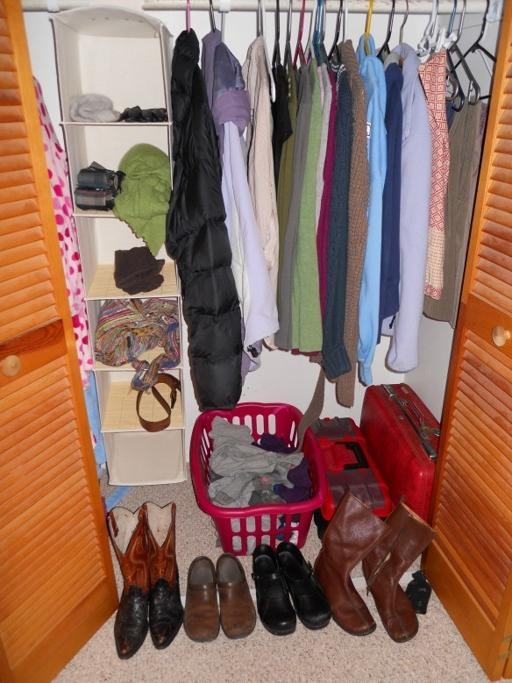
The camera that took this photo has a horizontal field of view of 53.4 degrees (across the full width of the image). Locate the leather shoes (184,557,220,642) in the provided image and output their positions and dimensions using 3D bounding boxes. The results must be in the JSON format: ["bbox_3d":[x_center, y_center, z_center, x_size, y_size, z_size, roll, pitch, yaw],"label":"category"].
[{"bbox_3d":[-0.174,0.788,1.575,0.069,0.081,0.213,0,32,-4],"label":"leather shoes"}]

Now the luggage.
[{"bbox_3d":[0.499,0.398,1.754,0.120,0.283,0.384,-2,32,-9],"label":"luggage"}]

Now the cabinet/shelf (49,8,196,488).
[{"bbox_3d":[-0.429,-0.194,1.825,0.365,1.668,0.412,-1,24,-8],"label":"cabinet/shelf"}]

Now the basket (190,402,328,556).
[{"bbox_3d":[-0.002,0.531,1.909,0.395,0.259,0.550,0,34,-7],"label":"basket"}]

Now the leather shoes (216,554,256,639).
[{"bbox_3d":[-0.068,0.787,1.590,0.073,0.059,0.207,-3,31,-8],"label":"leather shoes"}]
